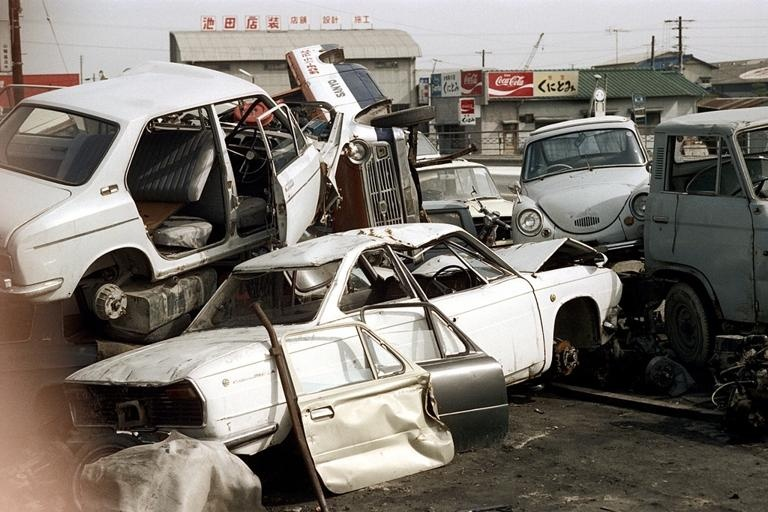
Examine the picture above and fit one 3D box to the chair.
[{"bbox_3d":[-1.755,-0.758,9.215,0.879,1.082,1.234,5,7,31],"label":"chair"}]
